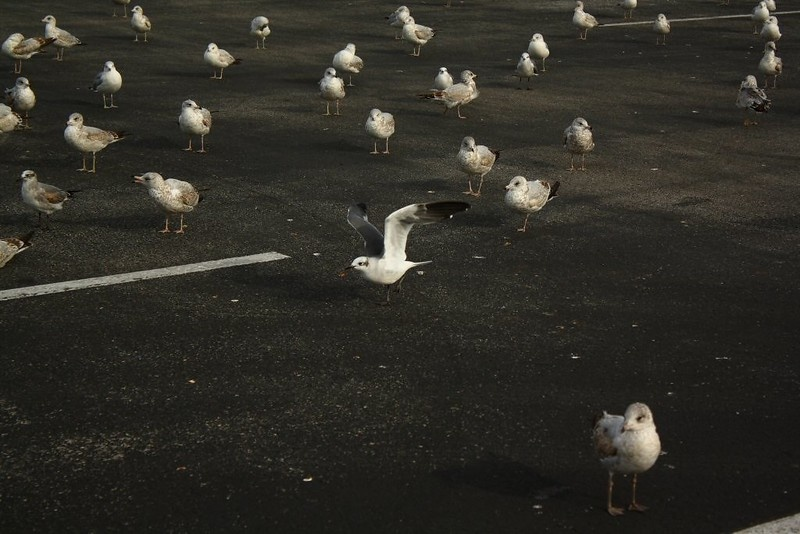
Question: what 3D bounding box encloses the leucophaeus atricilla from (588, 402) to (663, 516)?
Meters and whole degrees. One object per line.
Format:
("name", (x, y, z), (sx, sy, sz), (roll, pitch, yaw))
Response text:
("leucophaeus atricilla", (2.940, 2.442, 13.060), (0.770, 1.452, 0.834), (-3, 32, -3))
